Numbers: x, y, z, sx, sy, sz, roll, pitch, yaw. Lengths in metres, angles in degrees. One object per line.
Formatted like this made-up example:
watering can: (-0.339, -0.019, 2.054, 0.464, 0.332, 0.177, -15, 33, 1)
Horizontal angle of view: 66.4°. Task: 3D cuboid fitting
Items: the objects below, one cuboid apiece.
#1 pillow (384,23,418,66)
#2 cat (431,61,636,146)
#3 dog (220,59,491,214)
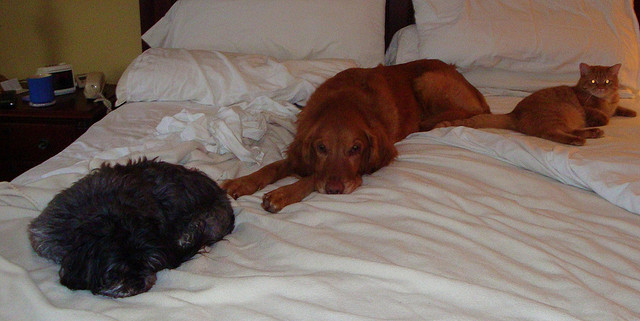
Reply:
pillow: (1.013, -1.418, 6.089, 0.317, 0.597, 0.355, 1, 2, 16)
cat: (2.328, -0.462, 5.110, 1.763, 0.543, 0.932, -5, 19, 4)
dog: (0.501, -0.377, 4.884, 2.605, 0.828, 1.388, -21, 21, -24)
